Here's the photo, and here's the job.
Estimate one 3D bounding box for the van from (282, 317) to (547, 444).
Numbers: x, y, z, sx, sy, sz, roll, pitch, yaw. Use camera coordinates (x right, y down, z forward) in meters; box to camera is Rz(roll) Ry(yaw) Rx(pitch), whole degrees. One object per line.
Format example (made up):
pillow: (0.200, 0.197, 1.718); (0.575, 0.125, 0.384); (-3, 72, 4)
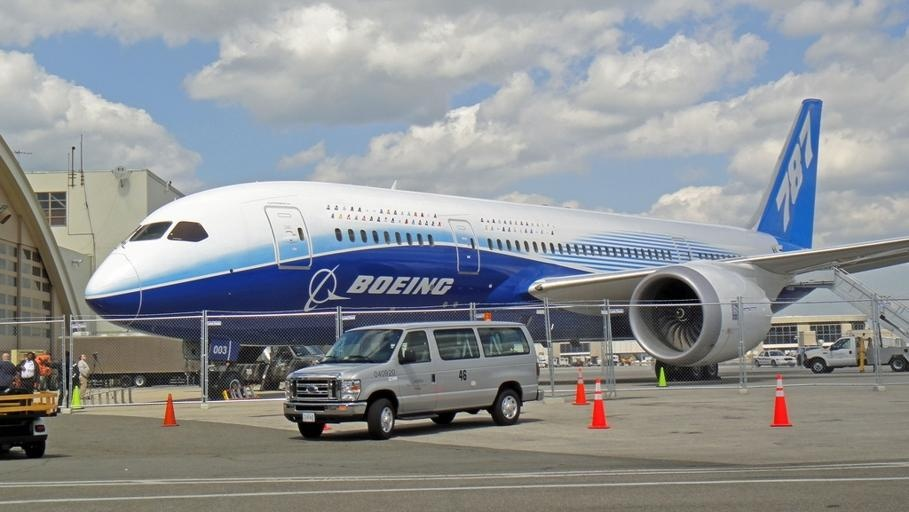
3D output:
van: (-1.013, 3.152, 26.535); (5.635, 2.000, 3.147); (6, -11, -38)

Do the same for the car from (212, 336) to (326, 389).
car: (-6.701, 4.429, 38.010); (4.389, 1.708, 2.349); (-3, -4, 7)

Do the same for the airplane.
airplane: (1.787, 1.214, 35.086); (27.244, 6.281, 8.274); (0, -10, -13)

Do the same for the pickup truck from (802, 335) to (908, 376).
pickup truck: (21.068, 4.874, 49.165); (7.129, 1.762, 2.360); (0, -5, 9)
